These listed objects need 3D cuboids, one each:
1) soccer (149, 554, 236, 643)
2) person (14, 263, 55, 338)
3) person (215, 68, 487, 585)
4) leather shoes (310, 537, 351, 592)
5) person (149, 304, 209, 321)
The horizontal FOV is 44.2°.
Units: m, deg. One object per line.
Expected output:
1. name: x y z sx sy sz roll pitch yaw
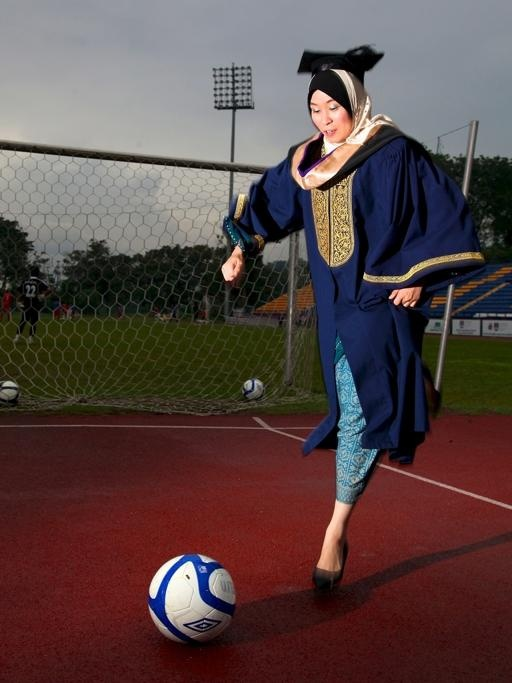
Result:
1. soccer: -0.172 0.706 1.712 0.226 0.211 0.157 1 10 -5
2. person: -2.998 -0.508 8.528 0.483 0.994 0.344 9 8 -1
3. person: 0.292 -0.067 2.226 0.487 1.709 0.845 -5 12 -33
4. leather shoes: 0.250 0.738 2.072 0.135 0.140 0.108 0 10 -13
5. person: -0.906 -0.341 7.868 0.858 0.248 0.297 -6 12 -39
